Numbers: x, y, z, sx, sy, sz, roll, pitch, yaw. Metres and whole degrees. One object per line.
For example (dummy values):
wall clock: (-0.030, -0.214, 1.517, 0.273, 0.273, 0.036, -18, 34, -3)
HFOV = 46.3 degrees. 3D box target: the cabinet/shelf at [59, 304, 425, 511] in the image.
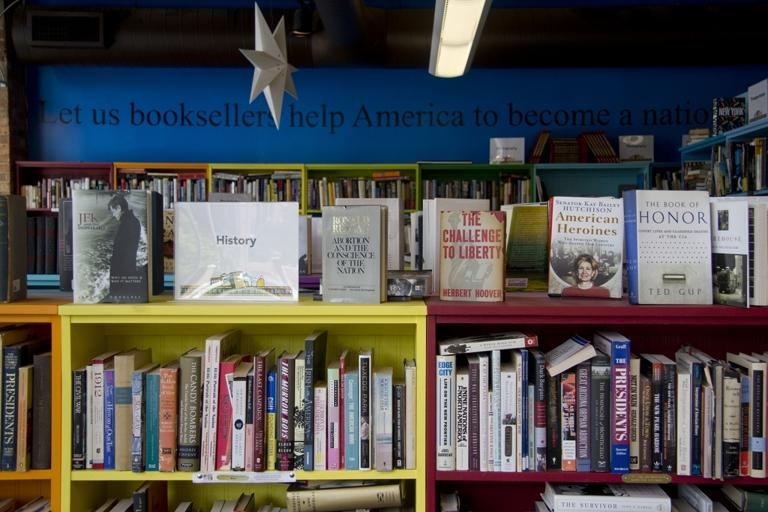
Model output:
cabinet/shelf: (-0.869, 0.916, 5.330, 1.285, 1.209, 0.428, 0, -1, -1)
